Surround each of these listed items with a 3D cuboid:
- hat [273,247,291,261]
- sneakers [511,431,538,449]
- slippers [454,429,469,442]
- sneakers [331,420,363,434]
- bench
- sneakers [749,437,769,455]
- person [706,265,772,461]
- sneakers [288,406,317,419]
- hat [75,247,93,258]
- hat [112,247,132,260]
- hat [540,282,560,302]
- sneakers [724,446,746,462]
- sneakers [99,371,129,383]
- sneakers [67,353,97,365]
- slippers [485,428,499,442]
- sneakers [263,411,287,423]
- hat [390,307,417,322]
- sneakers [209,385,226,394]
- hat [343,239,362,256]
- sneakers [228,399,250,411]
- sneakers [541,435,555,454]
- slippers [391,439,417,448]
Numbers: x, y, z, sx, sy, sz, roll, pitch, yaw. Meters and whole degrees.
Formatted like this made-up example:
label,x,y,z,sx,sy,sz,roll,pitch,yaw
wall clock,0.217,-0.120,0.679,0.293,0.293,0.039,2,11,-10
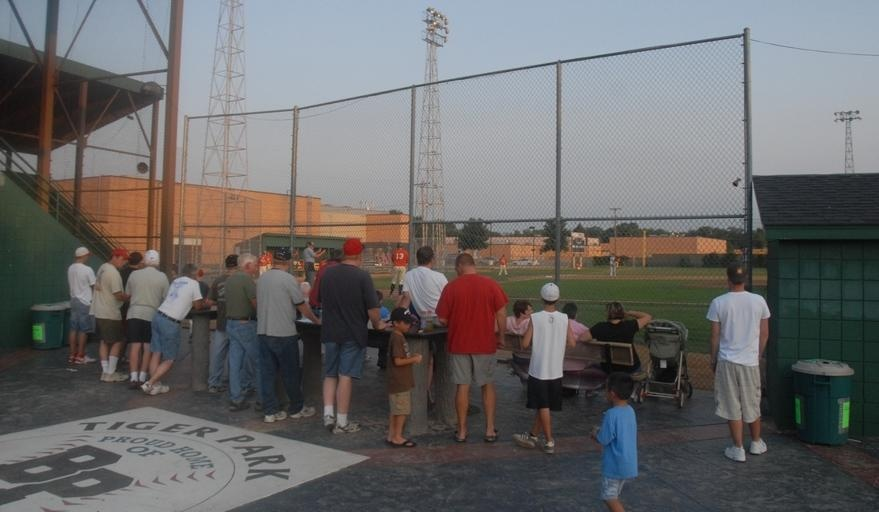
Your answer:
label,x,y,z,sx,sy,sz,roll,pitch,yaw
hat,-3.082,-0.046,13.868,0.278,0.169,0.270,-6,12,-44
sneakers,1.563,3.329,12.821,0.498,0.222,0.198,15,0,23
slippers,0.400,3.316,13.090,0.190,0.180,0.520,0,-7,0
sneakers,-1.755,3.205,13.351,0.562,0.224,0.222,-1,1,-11
bench,3.056,2.270,15.117,1.238,1.243,2.965,-14,8,-43
sneakers,5.721,3.432,12.740,0.200,0.178,0.410,-9,-17,33
person,5.360,1.882,12.707,1.002,3.427,0.481,0,-1,-11
sneakers,-2.719,3.049,13.958,0.465,0.187,0.189,-4,5,-20
hat,-8.484,-0.093,16.860,0.366,0.232,0.451,7,14,25
hat,-8.252,-0.061,18.313,0.333,0.228,0.454,7,6,0
hat,2.017,0.661,12.863,0.260,0.326,0.371,0,-1,21
sneakers,5.228,3.474,12.545,0.354,0.257,0.222,0,-1,20
sneakers,-7.238,2.673,15.722,0.548,0.217,0.239,-2,5,-33
sneakers,-8.546,2.483,17.055,0.673,0.270,0.254,3,5,-43
slippers,0.945,3.295,13.044,0.188,0.161,0.433,-1,-10,5
sneakers,-3.158,3.080,13.714,0.445,0.193,0.184,-9,14,-27
hat,-0.654,1.075,12.918,0.429,0.198,0.284,1,2,-8
sneakers,-4.732,2.827,15.123,0.144,0.146,0.358,3,2,10
hat,-1.645,-0.179,13.517,0.286,0.352,0.193,4,-36,1
sneakers,-4.018,2.967,14.137,0.175,0.279,0.434,6,9,29
sneakers,1.975,3.358,12.749,0.266,0.312,0.238,0,-1,-14
slippers,-0.674,3.393,12.878,0.346,0.095,0.184,0,-3,6
